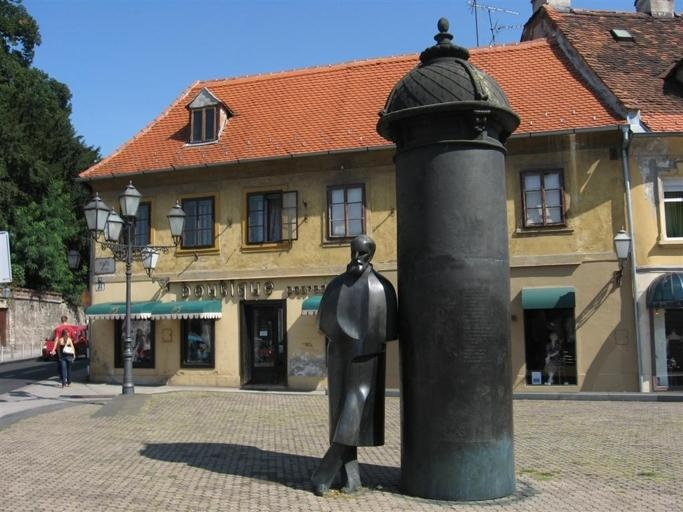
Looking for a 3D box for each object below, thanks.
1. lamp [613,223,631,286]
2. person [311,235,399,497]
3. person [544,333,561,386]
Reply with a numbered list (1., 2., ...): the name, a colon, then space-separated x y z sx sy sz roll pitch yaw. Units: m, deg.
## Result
1. lamp: 7.894 -0.021 23.016 0.529 1.657 0.569 -3 -6 17
2. person: 0.217 1.630 12.537 1.295 3.891 0.507 -2 -6 1
3. person: 6.056 2.911 23.639 0.472 1.462 0.217 -3 -6 15
